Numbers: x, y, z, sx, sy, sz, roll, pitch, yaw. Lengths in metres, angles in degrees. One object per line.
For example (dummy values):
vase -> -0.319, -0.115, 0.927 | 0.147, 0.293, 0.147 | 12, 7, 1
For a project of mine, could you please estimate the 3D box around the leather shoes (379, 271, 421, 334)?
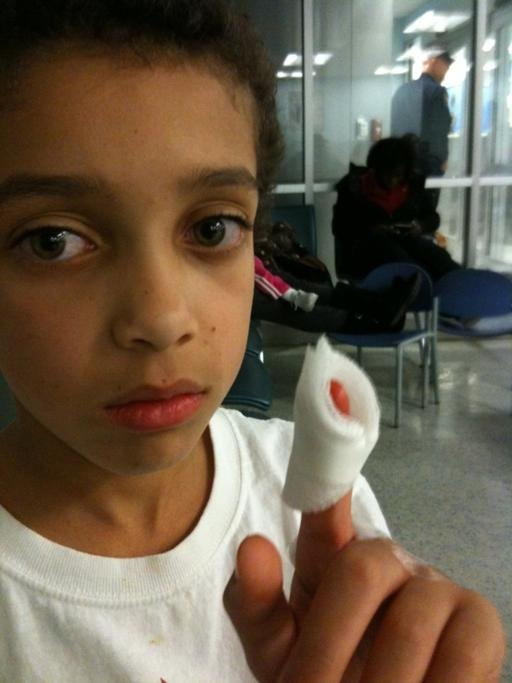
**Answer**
leather shoes -> 0.413, -0.106, 1.836 | 0.097, 0.169, 0.070 | 20, 0, 42
